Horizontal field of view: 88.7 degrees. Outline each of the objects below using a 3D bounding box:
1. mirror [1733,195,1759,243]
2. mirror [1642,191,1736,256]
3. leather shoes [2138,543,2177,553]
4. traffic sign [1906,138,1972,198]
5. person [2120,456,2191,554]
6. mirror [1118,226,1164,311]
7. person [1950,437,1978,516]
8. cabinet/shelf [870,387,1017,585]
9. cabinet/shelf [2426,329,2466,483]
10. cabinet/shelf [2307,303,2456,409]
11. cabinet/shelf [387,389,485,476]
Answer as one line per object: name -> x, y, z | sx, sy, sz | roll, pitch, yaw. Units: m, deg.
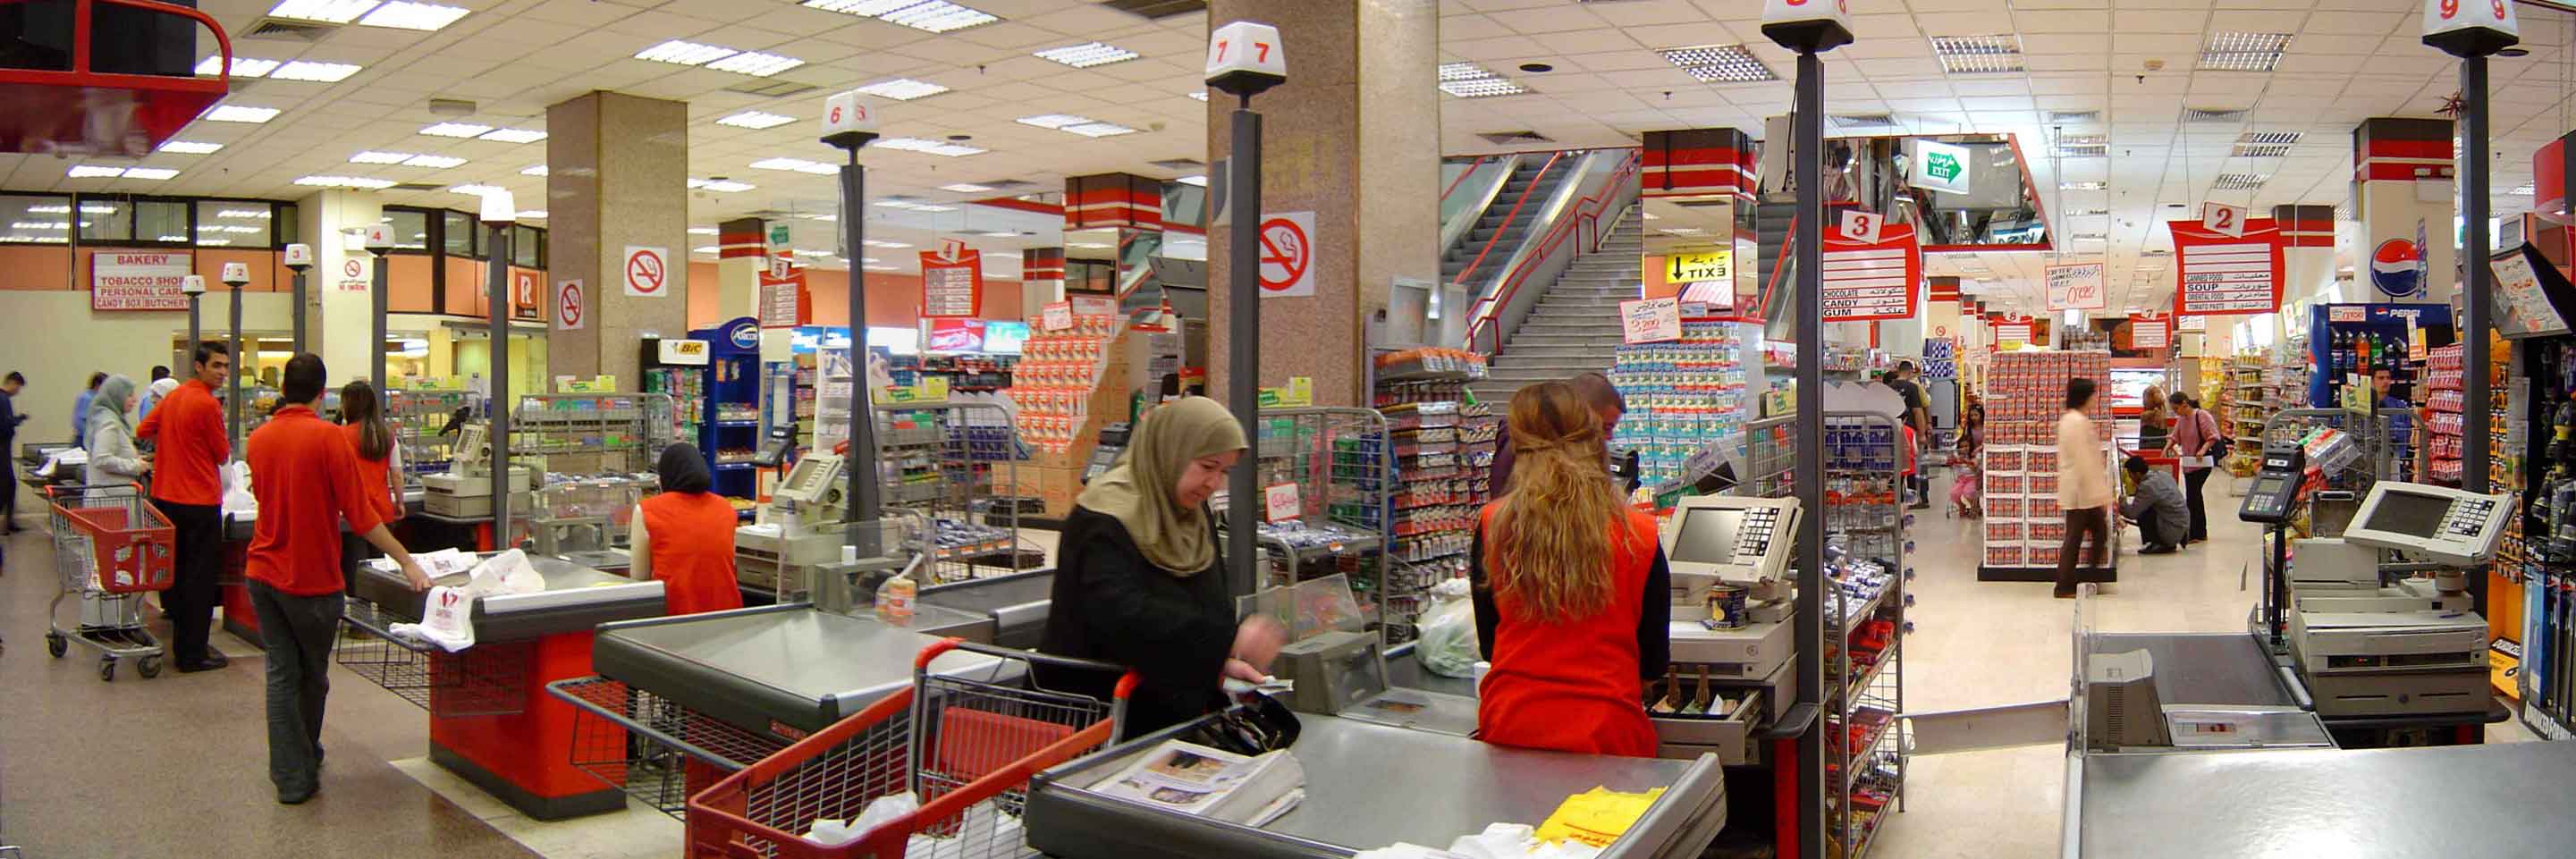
mirror -> 9.930, -4.548, 28.446 | 0.300, 0.971, 0.786 | 4, 6, 41
mirror -> 8.949, -4.459, 29.197 | 1.858, 1.233, 1.405 | 1, 4, 17
leather shoes -> 16.951, 2.343, 25.706 | 0.785, 0.189, 0.210 | -2, 1, 14
traffic sign -> 13.000, -5.179, 26.181 | 1.992, 0.795, 0.210 | 4, 5, -5
person -> 16.871, 1.468, 25.695 | 1.350, 1.847, 0.599 | 0, 5, -1
mirror -> -3.403, -3.837, 31.617 | 0.979, 1.902, 1.544 | -1, 4, -5
person -> 14.775, 1.008, 28.673 | 0.504, 1.718, 0.931 | 2, 5, 26
cabinet/shelf -> -5.363, 1.035, 21.607 | 2.327, 3.028, 4.038 | -1, 4, -9
cabinet/shelf -> 21.564, -0.290, 24.641 | 0.460, 2.458, 1.488 | 4, 6, 39
cabinet/shelf -> 22.498, -1.537, 27.000 | 3.996, 2.107, 1.029 | 1, 1, 10
cabinet/shelf -> -15.082, 0.098, 23.605 | 1.797, 1.467, 2.241 | 2, -2, -38
